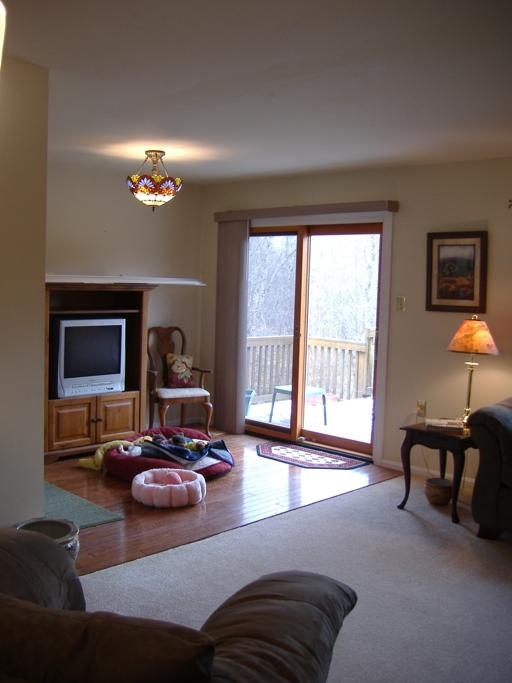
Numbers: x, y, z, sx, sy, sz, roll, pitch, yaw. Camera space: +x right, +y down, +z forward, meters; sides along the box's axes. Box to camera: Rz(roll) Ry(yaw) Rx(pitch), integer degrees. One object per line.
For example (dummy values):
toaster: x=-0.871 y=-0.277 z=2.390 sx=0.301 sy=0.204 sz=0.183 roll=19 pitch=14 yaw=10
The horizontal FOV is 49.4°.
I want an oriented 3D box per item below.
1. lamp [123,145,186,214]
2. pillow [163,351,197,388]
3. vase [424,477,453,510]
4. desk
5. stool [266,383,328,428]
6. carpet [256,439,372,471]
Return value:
lamp: x=-0.823 y=-1.313 z=4.515 sx=0.465 sy=0.437 sz=0.471 roll=-2 pitch=10 yaw=-22
pillow: x=-0.857 y=0.311 z=6.110 sx=0.382 sy=0.419 sz=0.169 roll=4 pitch=-19 yaw=-29
vase: x=1.339 y=1.122 z=4.139 sx=0.165 sy=0.138 sz=0.181 roll=4 pitch=-1 yaw=-34
desk: x=1.248 y=0.900 z=3.986 sx=0.444 sy=0.565 sz=0.531 roll=5 pitch=2 yaw=12
stool: x=0.450 y=0.685 z=5.921 sx=0.704 sy=0.432 sz=0.173 roll=3 pitch=4 yaw=27
carpet: x=0.466 y=1.087 z=5.249 sx=1.096 sy=0.024 sz=0.602 roll=5 pitch=5 yaw=43
